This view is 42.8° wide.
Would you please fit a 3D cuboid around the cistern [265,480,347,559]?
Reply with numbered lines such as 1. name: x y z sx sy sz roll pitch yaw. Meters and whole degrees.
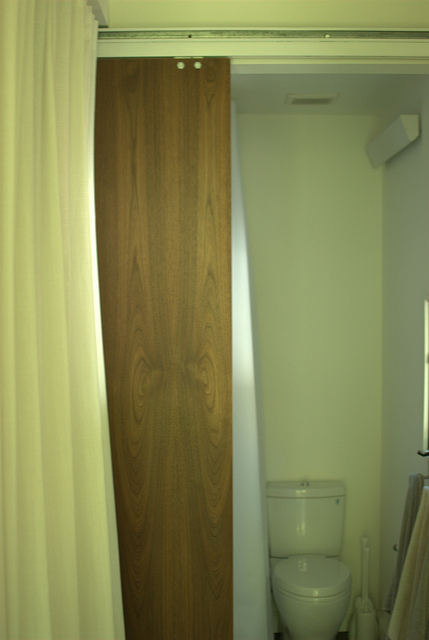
1. cistern: 0.387 0.838 2.389 0.342 0.486 0.241 1 -3 0
